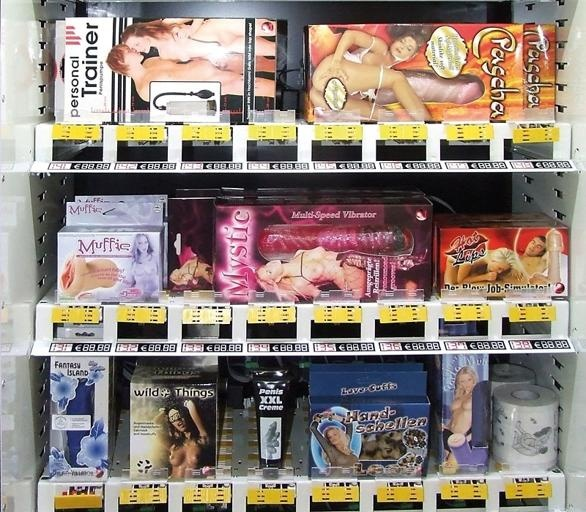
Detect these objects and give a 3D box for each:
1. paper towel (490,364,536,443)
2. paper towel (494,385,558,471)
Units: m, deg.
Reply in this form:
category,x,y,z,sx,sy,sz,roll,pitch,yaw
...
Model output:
category,x,y,z,sx,sy,sz,roll,pitch,yaw
paper towel,0.860,0.504,2.340,0.122,0.129,0.118,3,9,29
paper towel,0.847,0.624,2.200,0.226,0.244,0.230,1,-1,38
